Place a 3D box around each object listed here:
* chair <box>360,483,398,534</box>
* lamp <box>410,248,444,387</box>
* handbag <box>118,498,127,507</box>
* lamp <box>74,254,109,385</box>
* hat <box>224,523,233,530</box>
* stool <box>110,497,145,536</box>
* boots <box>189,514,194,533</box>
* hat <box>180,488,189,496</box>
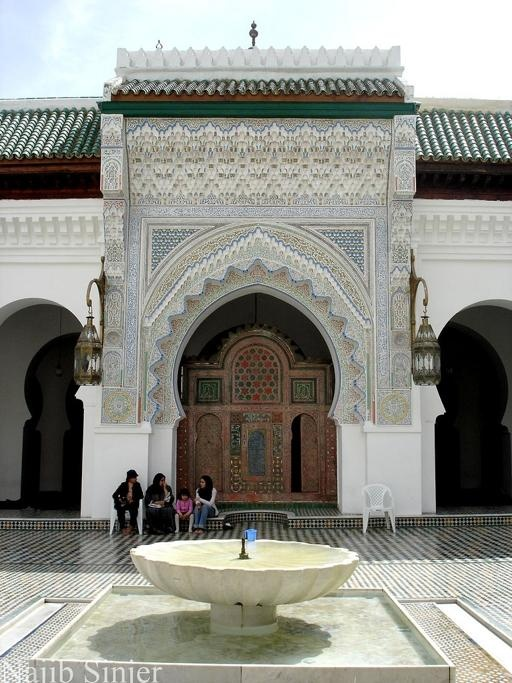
[{"bbox_3d":[0.915,1.217,5.634,0.293,0.349,0.306,-10,-15,35],"label":"chair"},{"bbox_3d":[1.281,-0.245,5.805,0.212,1.124,0.691,-3,-11,11],"label":"lamp"},{"bbox_3d":[-0.973,1.148,5.457,0.045,0.064,0.019,1,-7,-17],"label":"handbag"},{"bbox_3d":[-1.263,-0.192,5.738,0.217,1.011,0.614,1,-11,-12],"label":"lamp"},{"bbox_3d":[-0.216,1.388,5.746,0.056,0.035,0.098,2,-8,1],"label":"hat"},{"bbox_3d":[-0.939,1.300,5.620,0.253,0.323,0.243,0,-29,-2],"label":"stool"},{"bbox_3d":[-0.479,1.310,5.536,0.041,0.129,0.087,0,-11,-7],"label":"boots"},{"bbox_3d":[-0.542,1.121,5.715,0.054,0.062,0.068,2,-11,-5],"label":"hat"}]
